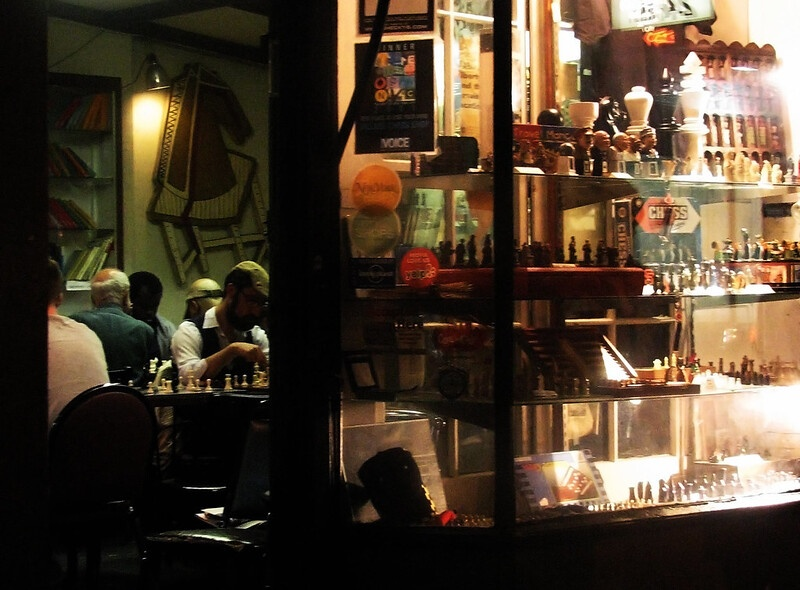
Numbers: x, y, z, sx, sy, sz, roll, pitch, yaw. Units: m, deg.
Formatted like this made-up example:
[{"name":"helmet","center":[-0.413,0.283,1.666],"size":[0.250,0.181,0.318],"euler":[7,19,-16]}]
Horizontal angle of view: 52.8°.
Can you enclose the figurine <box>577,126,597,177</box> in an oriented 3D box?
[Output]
[{"name":"figurine","center":[0.722,-0.568,3.158],"size":[0.083,0.181,0.038],"euler":[0,-4,-19]}]

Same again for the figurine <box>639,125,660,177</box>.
[{"name":"figurine","center":[1.014,-0.591,3.290],"size":[0.159,0.206,0.045],"euler":[2,-5,-41]}]

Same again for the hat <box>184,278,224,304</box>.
[{"name":"hat","center":[-1.326,-0.039,5.403],"size":[0.172,0.149,0.192],"euler":[0,4,-30]}]

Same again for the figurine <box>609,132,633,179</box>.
[{"name":"figurine","center":[0.887,-0.562,3.223],"size":[0.124,0.168,0.032],"euler":[0,-4,-16]}]

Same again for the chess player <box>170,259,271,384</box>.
[{"name":"chess player","center":[-1.085,0.146,4.842],"size":[0.620,0.866,0.508],"euler":[-1,5,-36]}]

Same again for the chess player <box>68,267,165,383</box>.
[{"name":"chess player","center":[-1.737,0.416,4.951],"size":[0.539,1.174,0.442],"euler":[1,17,-9]}]

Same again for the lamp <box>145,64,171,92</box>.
[{"name":"lamp","center":[-1.787,-1.590,5.879],"size":[0.167,0.227,0.158],"euler":[-18,15,-27]}]

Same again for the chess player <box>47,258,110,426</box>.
[{"name":"chess player","center":[-1.494,0.191,3.632],"size":[0.294,0.743,0.300],"euler":[0,4,-27]}]
